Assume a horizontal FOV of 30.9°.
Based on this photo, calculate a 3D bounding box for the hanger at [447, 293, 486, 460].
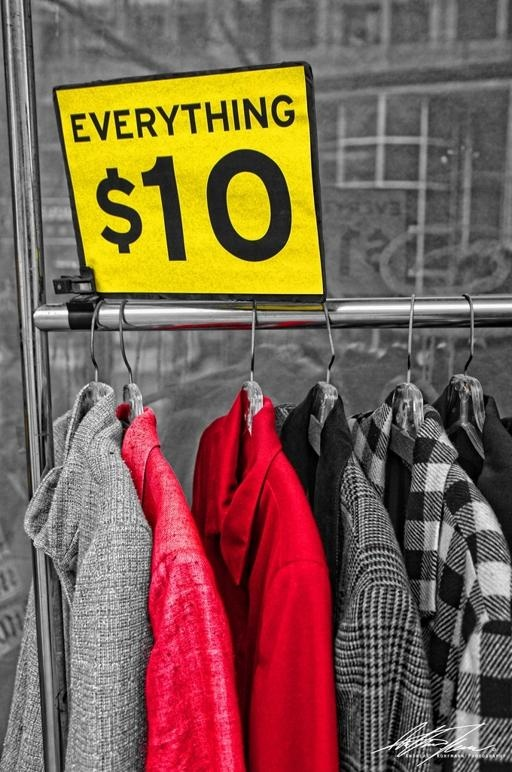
[{"bbox_3d":[0.195,-0.009,0.865,0.033,0.150,0.119,-2,6,13],"label":"hanger"}]
